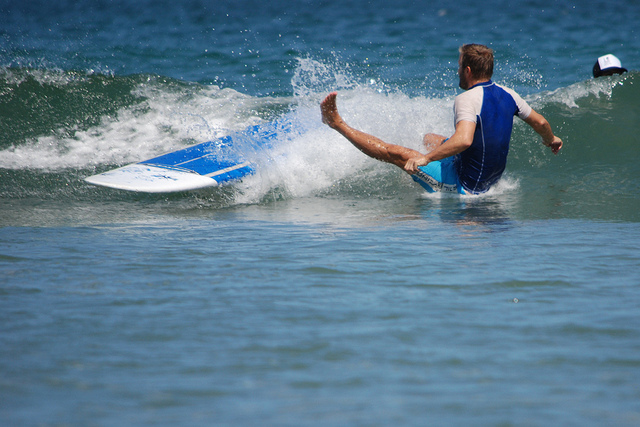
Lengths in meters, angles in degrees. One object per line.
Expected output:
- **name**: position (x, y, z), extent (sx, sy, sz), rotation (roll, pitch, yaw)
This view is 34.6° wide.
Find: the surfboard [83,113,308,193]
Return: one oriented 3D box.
- **surfboard**: position (-1.689, -0.726, 14.009), extent (2.669, 0.666, 1.084), rotation (-12, 16, -35)
